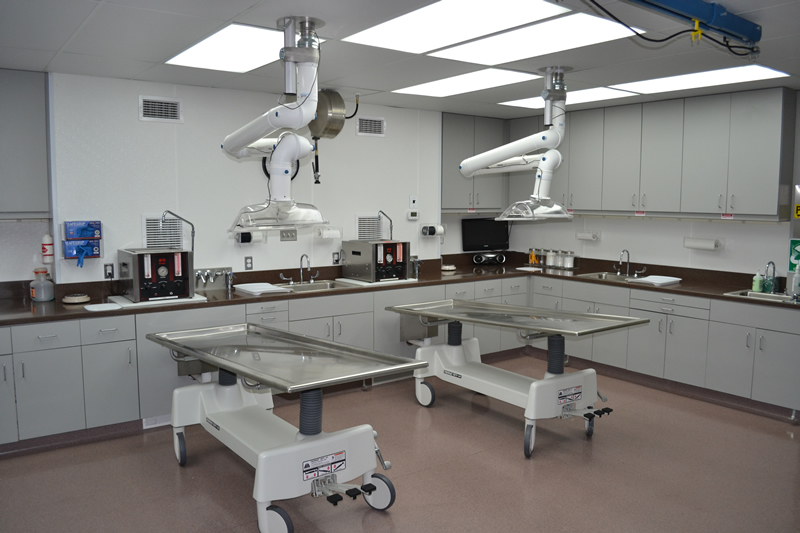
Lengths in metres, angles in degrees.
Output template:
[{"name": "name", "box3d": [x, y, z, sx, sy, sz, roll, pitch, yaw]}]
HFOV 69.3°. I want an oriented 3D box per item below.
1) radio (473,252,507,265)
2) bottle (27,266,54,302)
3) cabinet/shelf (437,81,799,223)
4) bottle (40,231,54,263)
[{"name": "radio", "box3d": [1.320, -0.129, 8.416, 0.581, 0.187, 0.243, -6, 6, -42]}, {"name": "bottle", "box3d": [-3.528, 0.163, 5.672, 0.215, 0.338, 0.274, -4, 5, -21]}, {"name": "cabinet/shelf", "box3d": [1.820, -1.241, 6.540, 3.358, 1.493, 3.481, -5, 6, -40]}, {"name": "bottle", "box3d": [-3.512, -0.174, 5.733, 0.095, 0.297, 0.182, -6, 7, -40]}]
